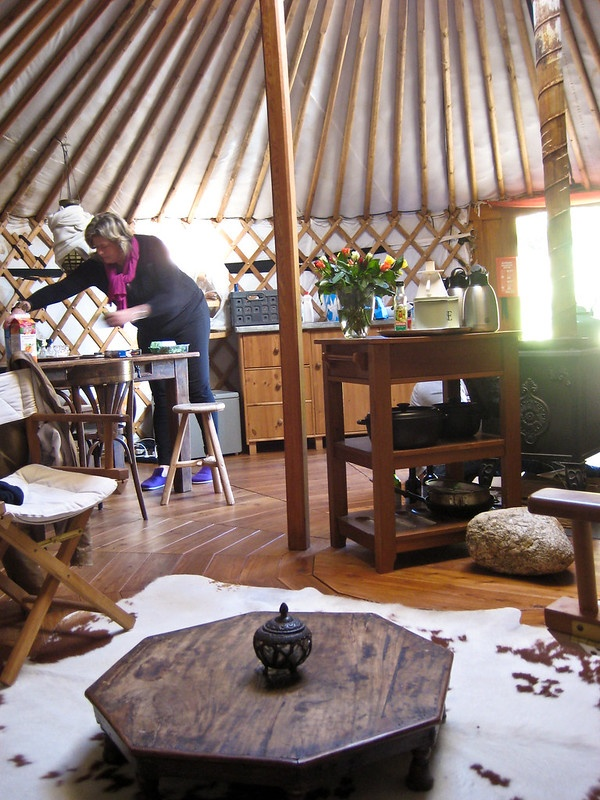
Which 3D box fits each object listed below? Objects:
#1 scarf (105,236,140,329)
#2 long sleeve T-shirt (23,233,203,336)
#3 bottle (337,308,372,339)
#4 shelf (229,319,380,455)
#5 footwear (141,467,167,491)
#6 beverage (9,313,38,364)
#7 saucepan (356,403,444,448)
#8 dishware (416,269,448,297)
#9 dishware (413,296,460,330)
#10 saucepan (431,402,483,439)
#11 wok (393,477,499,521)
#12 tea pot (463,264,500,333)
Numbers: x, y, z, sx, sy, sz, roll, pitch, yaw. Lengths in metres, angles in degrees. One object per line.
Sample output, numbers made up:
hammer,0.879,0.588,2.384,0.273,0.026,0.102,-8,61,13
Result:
scarf,-0.854,-0.600,3.020,0.130,0.349,0.188,-3,2,-34
long sleeve T-shirt,-0.812,-0.564,3.144,0.809,0.536,0.431,-30,23,-34
bottle,0.169,-0.249,2.062,0.102,0.079,0.091,-2,5,-23
shelf,0.065,-0.122,4.286,0.954,0.805,0.370,-6,21,-11
footwear,-0.720,0.394,3.139,0.070,0.078,0.197,-2,-1,13
beverage,-1.133,-0.272,2.576,0.099,0.180,0.207,-3,2,-25
saucepan,0.328,0.076,1.908,0.279,0.124,0.208,-2,2,-10
dishware,0.393,-0.347,1.887,0.078,0.065,0.100,2,7,27
dishware,0.401,-0.248,1.856,0.113,0.076,0.111,-2,4,0
saucepan,0.484,0.048,1.999,0.143,0.097,0.116,1,9,32
wok,0.454,0.311,1.990,0.215,0.082,0.157,-2,-1,13
tea pot,0.565,-0.313,1.944,0.112,0.196,0.110,-10,12,2
